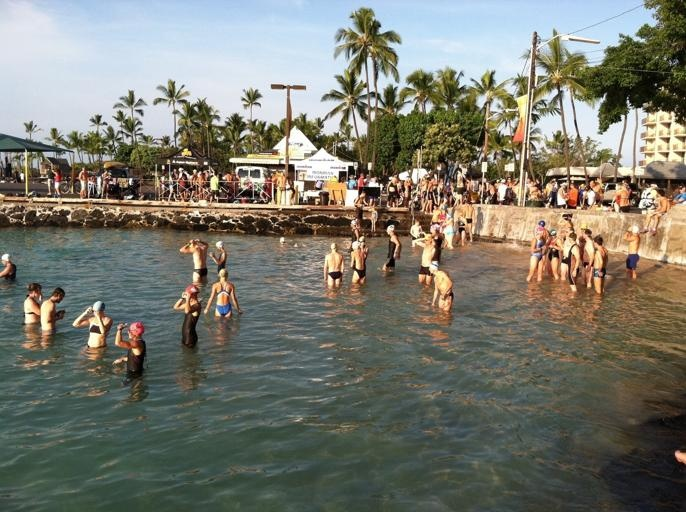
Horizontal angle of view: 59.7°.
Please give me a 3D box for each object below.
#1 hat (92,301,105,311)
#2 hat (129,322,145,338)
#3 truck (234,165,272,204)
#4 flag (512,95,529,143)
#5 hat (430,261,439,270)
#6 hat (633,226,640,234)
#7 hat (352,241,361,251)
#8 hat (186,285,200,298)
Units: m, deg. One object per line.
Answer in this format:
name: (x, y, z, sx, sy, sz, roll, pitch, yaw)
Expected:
hat: (-5.576, 1.158, 13.672, 0.229, 0.279, 0.417, -5, 11, -27)
hat: (-4.246, 1.531, 12.324, 0.241, 0.297, 0.216, -4, 11, -25)
truck: (-6.041, -5.204, 40.012, 1.865, 1.985, 3.565, 3, 15, -1)
flag: (8.583, -6.686, 28.849, 0.734, 2.136, 0.125, -10, 18, -18)
hat: (2.745, 0.277, 17.737, 0.277, 0.268, 0.214, 17, 4, -5)
hat: (10.050, -0.935, 20.547, 0.199, 0.259, 0.645, 4, 11, 21)
hat: (0.489, -0.366, 19.826, 0.299, 0.299, 0.228, -6, 10, -41)
hat: (-3.492, 0.777, 13.956, 0.318, 0.155, 0.420, -2, 8, -2)
